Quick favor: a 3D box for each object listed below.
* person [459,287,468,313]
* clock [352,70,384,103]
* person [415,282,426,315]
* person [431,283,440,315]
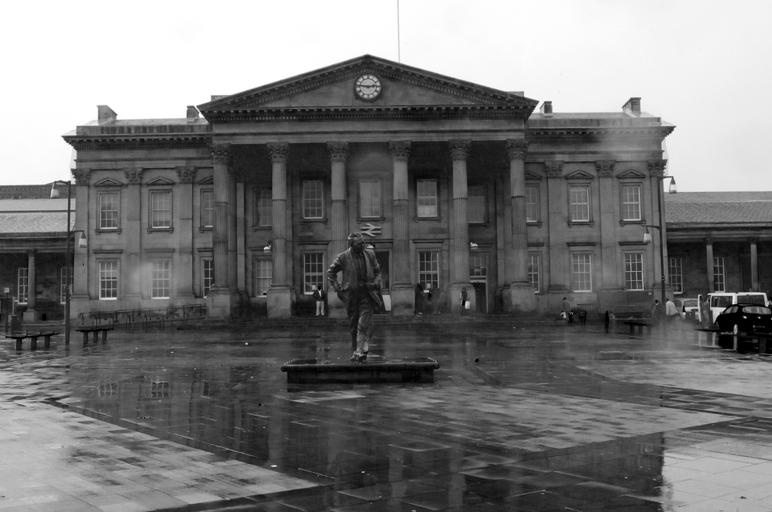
[{"bbox_3d":[4.484,2.578,55.493,0.402,1.378,0.548,-1,-4,0],"label":"person"},{"bbox_3d":[-0.970,-9.681,57.300,1.795,1.645,1.696,6,-26,14],"label":"clock"},{"bbox_3d":[2.066,2.602,59.479,0.563,1.713,0.611,-1,-4,2],"label":"person"},{"bbox_3d":[3.049,2.646,60.058,0.610,1.603,1.330,-1,-4,3],"label":"person"}]
